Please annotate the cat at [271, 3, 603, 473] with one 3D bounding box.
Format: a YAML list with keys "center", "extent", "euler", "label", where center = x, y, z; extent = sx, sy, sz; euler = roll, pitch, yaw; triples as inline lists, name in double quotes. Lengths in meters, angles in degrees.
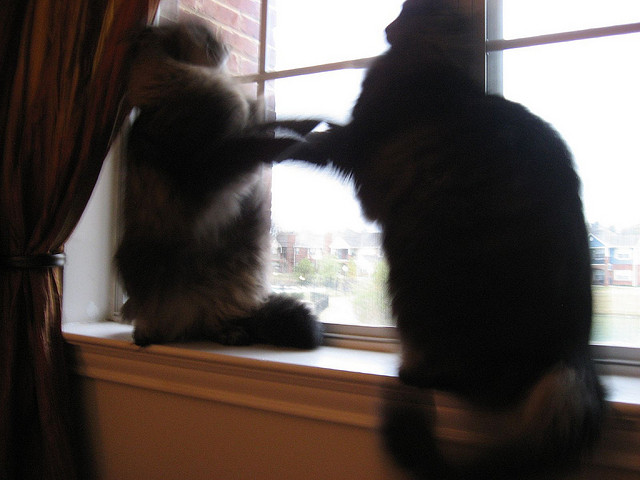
- center: [0.275, -0.008, 1.240]
  extent: [0.303, 0.908, 0.581]
  euler: [-11, 17, -40]
  label: "cat"
